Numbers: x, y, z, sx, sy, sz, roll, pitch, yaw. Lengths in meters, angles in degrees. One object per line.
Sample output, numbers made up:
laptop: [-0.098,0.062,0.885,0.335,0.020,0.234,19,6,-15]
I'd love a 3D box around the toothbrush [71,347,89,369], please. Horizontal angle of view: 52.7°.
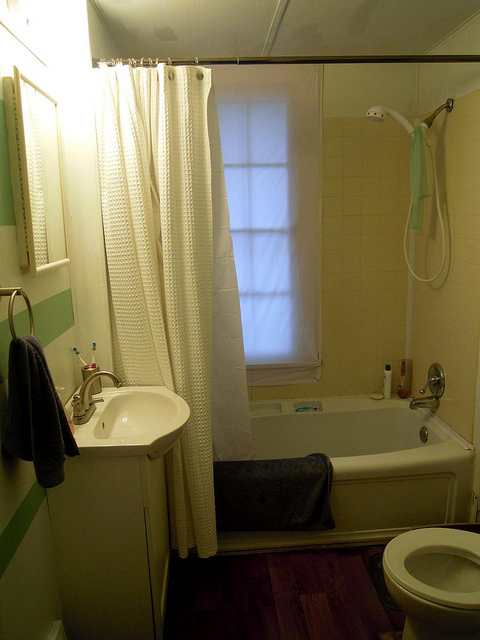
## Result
toothbrush: [-0.623,0.151,1.885,0.015,0.082,0.020,-23,17,-7]

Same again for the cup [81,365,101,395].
cup: [-0.553,0.224,1.858,0.071,0.132,0.082,1,5,14]

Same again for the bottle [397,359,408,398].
bottle: [1.023,0.373,3.049,0.052,0.234,0.083,2,9,22]

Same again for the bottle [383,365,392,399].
bottle: [0.919,0.388,3.044,0.046,0.212,0.104,1,9,17]

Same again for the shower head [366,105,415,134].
shower head: [0.730,-0.995,2.447,0.256,0.136,0.168,-5,10,-16]

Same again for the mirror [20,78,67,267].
mirror: [-0.606,-0.441,1.526,0.067,0.526,0.430,-4,10,-16]
